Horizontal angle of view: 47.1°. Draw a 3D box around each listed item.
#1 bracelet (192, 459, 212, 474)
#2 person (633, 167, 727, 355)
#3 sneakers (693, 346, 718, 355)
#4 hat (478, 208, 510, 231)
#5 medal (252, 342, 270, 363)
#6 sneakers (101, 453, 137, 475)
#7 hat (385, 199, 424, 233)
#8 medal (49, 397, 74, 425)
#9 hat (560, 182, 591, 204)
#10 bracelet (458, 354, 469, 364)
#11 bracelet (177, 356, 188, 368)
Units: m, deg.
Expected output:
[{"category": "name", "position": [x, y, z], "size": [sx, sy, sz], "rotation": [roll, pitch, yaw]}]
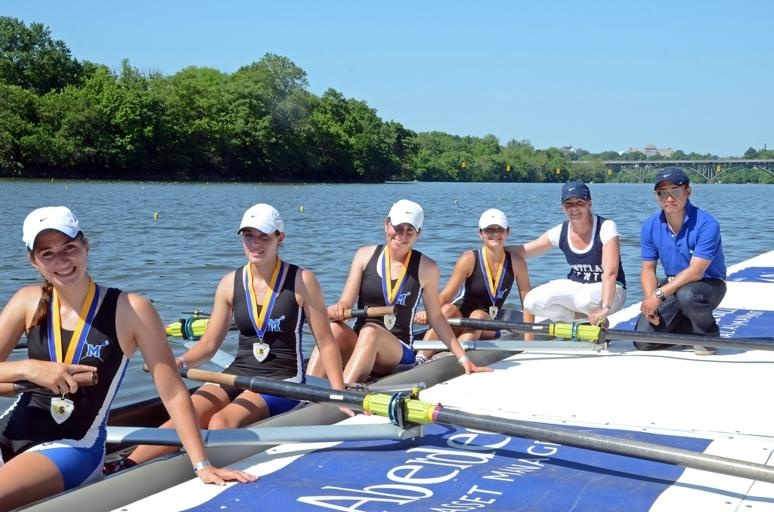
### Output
[{"category": "bracelet", "position": [-1.341, 1.513, 6.411], "size": [0.106, 0.051, 0.091], "rotation": [-21, 3, 26]}, {"category": "person", "position": [3.141, -0.045, 9.525], "size": [0.893, 1.796, 0.732], "rotation": [2, 6, 22]}, {"category": "sneakers", "position": [3.316, 0.982, 9.288], "size": [0.154, 0.094, 0.109], "rotation": [0, 4, 27]}, {"category": "hat", "position": [1.152, -0.394, 9.578], "size": [0.218, 0.163, 0.299], "rotation": [-2, -6, 2]}, {"category": "medal", "position": [-1.048, 0.785, 7.302], "size": [0.143, 0.149, 0.042], "rotation": [0, 7, 1]}, {"category": "sneakers", "position": [-2.037, 1.573, 6.732], "size": [0.177, 0.071, 0.129], "rotation": [-8, 7, 29]}, {"category": "hat", "position": [0.178, -0.398, 8.611], "size": [0.328, 0.285, 0.651], "rotation": [0, 5, 0]}, {"category": "medal", "position": [-2.269, 1.069, 6.184], "size": [0.197, 0.220, 0.044], "rotation": [3, 10, -10]}, {"category": "hat", "position": [2.102, -0.712, 9.900], "size": [0.302, 0.235, 0.523], "rotation": [1, 5, 11]}, {"category": "bracelet", "position": [0.727, 0.979, 8.553], "size": [0.096, 0.063, 0.091], "rotation": [-34, 9, -22]}, {"category": "bracelet", "position": [-1.696, 0.870, 7.344], "size": [0.100, 0.054, 0.070], "rotation": [-3, 9, -19]}]
